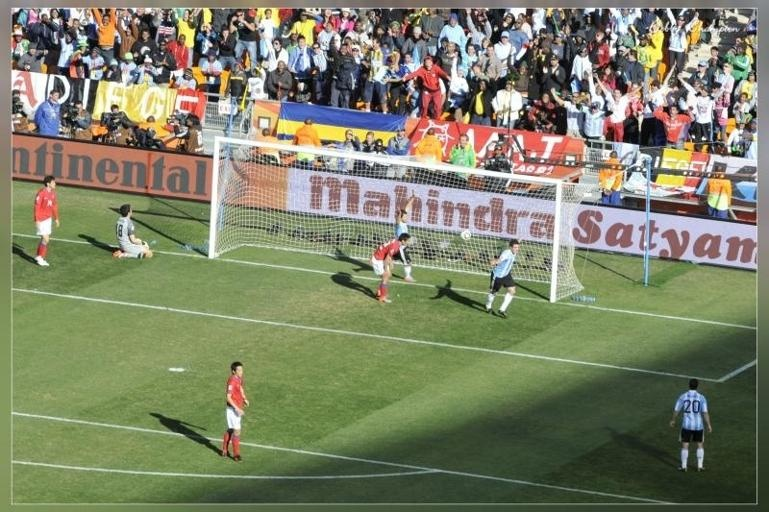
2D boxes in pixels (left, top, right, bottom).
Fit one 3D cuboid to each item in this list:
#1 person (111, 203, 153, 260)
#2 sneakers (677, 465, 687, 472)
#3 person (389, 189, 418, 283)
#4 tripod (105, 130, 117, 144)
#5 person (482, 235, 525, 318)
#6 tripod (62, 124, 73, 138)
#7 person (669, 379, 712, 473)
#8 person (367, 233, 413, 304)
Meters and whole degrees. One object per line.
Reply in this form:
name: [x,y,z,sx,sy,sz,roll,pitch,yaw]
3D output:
person: [-8.108,-0.947,40.689,1.573,2.077,0.917,2,-4,37]
sneakers: [7.458,5.410,32.224,0.097,0.102,0.254,-3,8,-23]
person: [0.655,-0.444,39.685,0.836,2.578,0.966,-4,-7,-15]
tripod: [-10.092,-4.394,46.952,0.604,0.519,0.136,5,-6,19]
person: [3.731,0.627,38.329,0.966,2.442,1.431,4,0,2]
tripod: [-11.949,-4.687,47.874,0.663,0.578,0.151,6,-1,14]
person: [7.604,4.195,32.391,1.032,2.383,1.140,2,3,28]
person: [0.070,0.392,38.990,1.208,2.108,0.862,0,2,-7]
